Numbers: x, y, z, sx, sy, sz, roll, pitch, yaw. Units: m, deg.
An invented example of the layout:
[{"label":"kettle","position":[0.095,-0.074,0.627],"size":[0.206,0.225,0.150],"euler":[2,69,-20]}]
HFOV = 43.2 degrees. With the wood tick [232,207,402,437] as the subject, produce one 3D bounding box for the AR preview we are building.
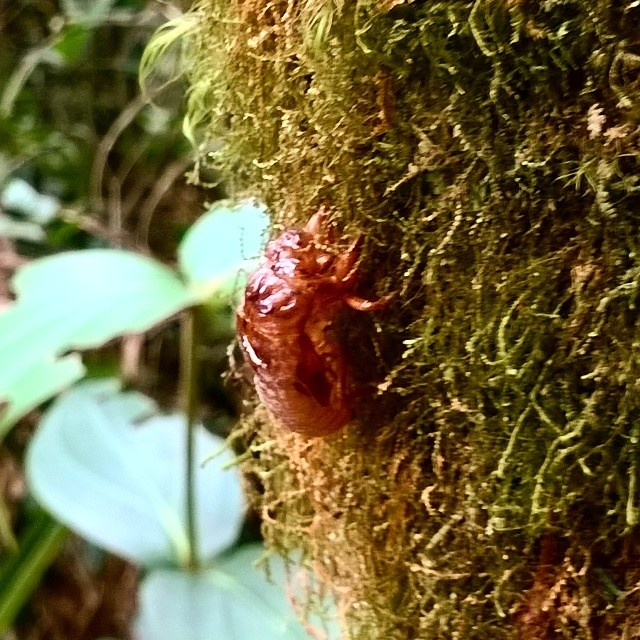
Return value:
[{"label":"wood tick","position":[0.011,-0.007,1.006],"size":[0.206,0.249,0.094],"euler":[24,33,39]}]
